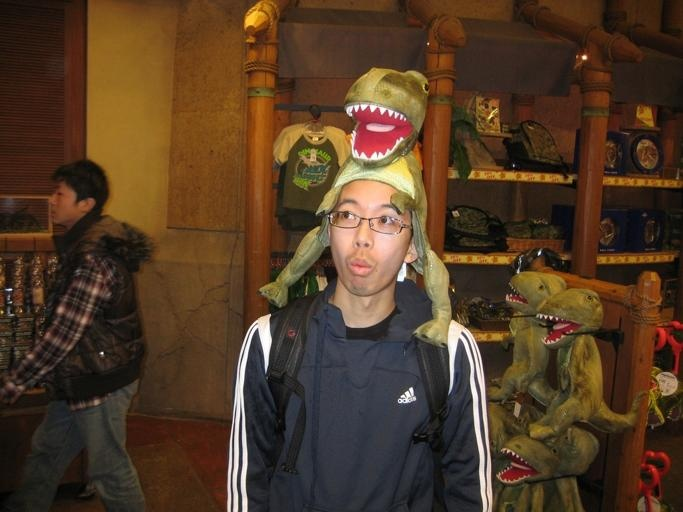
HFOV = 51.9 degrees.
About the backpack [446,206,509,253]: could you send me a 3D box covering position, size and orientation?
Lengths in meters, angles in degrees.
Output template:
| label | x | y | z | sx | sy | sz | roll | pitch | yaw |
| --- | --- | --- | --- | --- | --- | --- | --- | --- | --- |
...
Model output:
| label | x | y | z | sx | sy | sz | roll | pitch | yaw |
| --- | --- | --- | --- | --- | --- | --- | --- | --- | --- |
| backpack | 1.180 | -0.231 | 6.226 | 0.436 | 0.171 | 0.459 | 0 | 18 | 5 |
